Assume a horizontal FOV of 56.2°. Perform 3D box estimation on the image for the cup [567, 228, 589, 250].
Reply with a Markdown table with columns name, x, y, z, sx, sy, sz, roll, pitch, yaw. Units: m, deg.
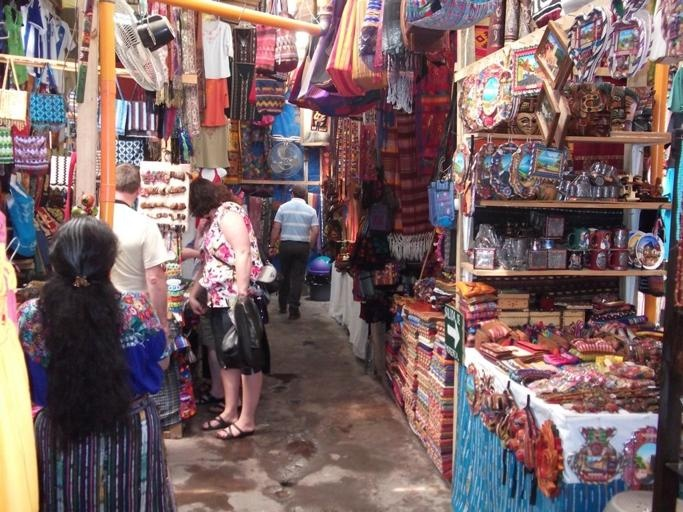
| name | x | y | z | sx | sy | sz | roll | pitch | yaw |
| --- | --- | --- | --- | --- | --- | --- | --- | --- | --- |
| cup | 1.362 | -0.107 | 3.741 | 0.123 | 0.154 | 0.085 | 1 | 2 | -1 |

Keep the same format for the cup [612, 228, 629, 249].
| name | x | y | z | sx | sy | sz | roll | pitch | yaw |
| --- | --- | --- | --- | --- | --- | --- | --- | --- | --- |
| cup | 1.605 | -0.117 | 3.697 | 0.077 | 0.114 | 0.103 | 6 | -8 | -26 |

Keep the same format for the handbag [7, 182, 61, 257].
| name | x | y | z | sx | sy | sz | roll | pitch | yaw |
| --- | --- | --- | --- | --- | --- | --- | --- | --- | --- |
| handbag | -2.277 | -0.278 | 4.701 | 0.246 | 0.743 | 0.362 | -2 | 19 | -17 |

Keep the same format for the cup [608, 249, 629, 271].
| name | x | y | z | sx | sy | sz | roll | pitch | yaw |
| --- | --- | --- | --- | --- | --- | --- | --- | --- | --- |
| cup | 1.599 | 0.011 | 3.757 | 0.115 | 0.136 | 0.081 | -2 | 5 | -4 |

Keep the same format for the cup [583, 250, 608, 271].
| name | x | y | z | sx | sy | sz | roll | pitch | yaw |
| --- | --- | --- | --- | --- | --- | --- | --- | --- | --- |
| cup | 1.464 | 0.023 | 3.712 | 0.118 | 0.108 | 0.088 | 0 | 4 | 1 |

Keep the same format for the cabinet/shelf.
| name | x | y | z | sx | sy | sz | roll | pitch | yaw |
| --- | --- | --- | --- | --- | --- | --- | --- | --- | --- |
| cabinet/shelf | 1.301 | -0.289 | 3.860 | 1.192 | 0.932 | 0.576 | 0 | 7 | -8 |

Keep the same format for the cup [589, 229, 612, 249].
| name | x | y | z | sx | sy | sz | roll | pitch | yaw |
| --- | --- | --- | --- | --- | --- | --- | --- | --- | --- |
| cup | 1.486 | -0.098 | 3.697 | 0.118 | 0.126 | 0.077 | 0 | 4 | -11 |

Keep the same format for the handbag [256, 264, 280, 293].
| name | x | y | z | sx | sy | sz | roll | pitch | yaw |
| --- | --- | --- | --- | --- | --- | --- | --- | --- | --- |
| handbag | -0.504 | 0.143 | 4.593 | 0.162 | 0.193 | 0.156 | -4 | 7 | 13 |

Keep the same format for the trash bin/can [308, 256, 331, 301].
| name | x | y | z | sx | sy | sz | roll | pitch | yaw |
| --- | --- | --- | --- | --- | --- | --- | --- | --- | --- |
| trash bin/can | -0.334 | 0.331 | 9.834 | 0.474 | 0.660 | 0.550 | 1 | 0 | -7 |

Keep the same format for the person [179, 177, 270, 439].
| name | x | y | z | sx | sy | sz | roll | pitch | yaw |
| --- | --- | --- | --- | --- | --- | --- | --- | --- | --- |
| person | -0.799 | 0.375 | 4.605 | 0.436 | 1.876 | 0.765 | -3 | 8 | -28 |

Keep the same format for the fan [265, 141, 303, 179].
| name | x | y | z | sx | sy | sz | roll | pitch | yaw |
| --- | --- | --- | --- | --- | --- | --- | --- | --- | --- |
| fan | -0.932 | -1.591 | 10.274 | 0.480 | 0.780 | 0.548 | -1 | 28 | -6 |

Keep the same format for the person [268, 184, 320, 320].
| name | x | y | z | sx | sy | sz | roll | pitch | yaw |
| --- | --- | --- | --- | --- | --- | --- | --- | --- | --- |
| person | -0.648 | -0.087 | 8.596 | 0.620 | 1.770 | 0.565 | -2 | 7 | -21 |
